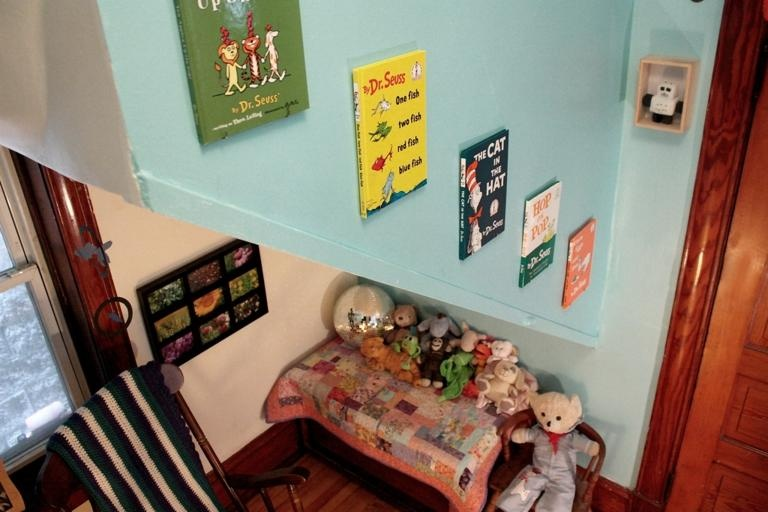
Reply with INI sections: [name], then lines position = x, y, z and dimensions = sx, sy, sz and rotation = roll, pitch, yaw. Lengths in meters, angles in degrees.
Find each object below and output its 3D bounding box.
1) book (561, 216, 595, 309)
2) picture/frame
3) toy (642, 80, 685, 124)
[book]
position = 0.876, 0.016, 2.432
dimensions = 0.043, 0.311, 0.324
rotation = 13, 43, 31
[picture/frame]
position = -0.949, 0.223, 2.713
dimensions = 0.040, 0.437, 0.611
rotation = 23, 43, 35
[toy]
position = 1.222, -0.675, 2.327
dimensions = 0.146, 0.140, 0.082
rotation = 27, 60, 27
